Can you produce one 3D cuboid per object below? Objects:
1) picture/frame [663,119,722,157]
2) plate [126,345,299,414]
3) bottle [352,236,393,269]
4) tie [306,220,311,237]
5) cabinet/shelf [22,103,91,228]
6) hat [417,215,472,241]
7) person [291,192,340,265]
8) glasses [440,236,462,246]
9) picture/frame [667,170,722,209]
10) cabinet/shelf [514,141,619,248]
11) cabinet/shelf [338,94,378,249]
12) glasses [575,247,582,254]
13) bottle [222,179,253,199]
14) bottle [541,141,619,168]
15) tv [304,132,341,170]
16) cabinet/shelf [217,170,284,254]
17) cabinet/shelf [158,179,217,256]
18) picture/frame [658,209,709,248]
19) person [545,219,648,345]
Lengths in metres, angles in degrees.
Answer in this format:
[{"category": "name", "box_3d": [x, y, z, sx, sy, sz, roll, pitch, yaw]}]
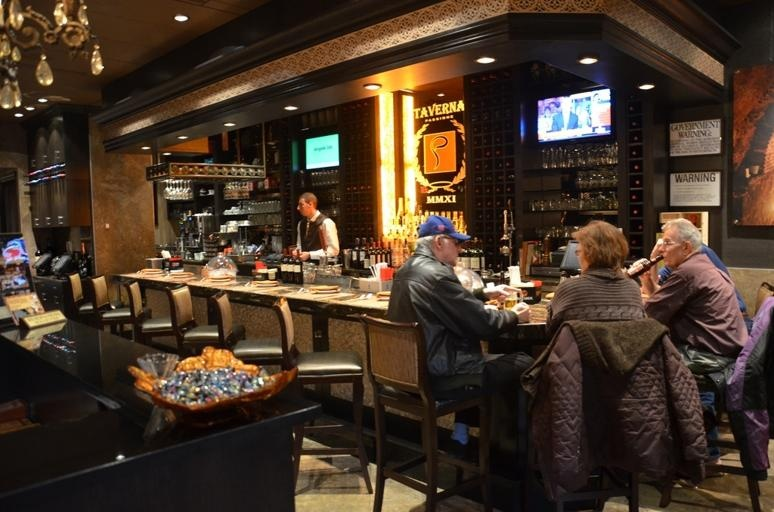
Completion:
[{"category": "picture/frame", "box_3d": [3.717, -1.432, 6.763, 0.529, 0.361, 0.085, 0, 0, 35]}, {"category": "plate", "box_3d": [-0.833, 0.605, 2.649, 0.485, 0.142, 0.392, -1, 2, -21]}, {"category": "bottle", "box_3d": [-0.190, -0.042, 8.194, 0.485, 0.432, 0.265, 4, 9, 24]}, {"category": "tie", "box_3d": [-1.108, -0.403, 8.058, 0.044, 0.174, 0.171, 12, 34, -14]}, {"category": "cabinet/shelf", "box_3d": [-6.455, -1.604, 11.025, 1.977, 2.049, 0.579, 1, 4, 42]}, {"category": "hat", "box_3d": [0.435, -0.211, 4.274, 0.328, 0.154, 0.198, -1, 3, -10]}, {"category": "person", "box_3d": [-0.956, -0.391, 7.655, 0.536, 0.918, 1.755, -2, 5, -8]}, {"category": "glasses", "box_3d": [0.474, -0.114, 4.202, 0.130, 0.055, 0.077, 8, 1, -29]}, {"category": "picture/frame", "box_3d": [3.787, -0.815, 6.850, 0.525, 0.427, 0.053, 1, 1, 34]}, {"category": "cabinet/shelf", "box_3d": [2.233, -0.747, 7.578, 1.270, 1.111, 0.461, -3, 3, -20]}, {"category": "cabinet/shelf", "box_3d": [-0.405, -1.185, 9.120, 0.654, 2.569, 0.370, 1, 8, 17]}, {"category": "glasses", "box_3d": [1.313, -0.036, 3.851, 0.024, 0.031, 0.030, 12, 27, -1]}, {"category": "bottle", "box_3d": [-2.835, -1.266, 10.677, 0.487, 0.443, 0.355, -1, -4, 29]}, {"category": "bottle", "box_3d": [2.498, -1.289, 7.263, 0.954, 0.295, 0.213, 2, 7, 35]}, {"category": "tv", "box_3d": [-1.063, -1.752, 9.443, 0.820, 0.538, 0.072, 1, 4, 38]}, {"category": "cabinet/shelf", "box_3d": [-2.543, -1.046, 11.653, 0.764, 2.177, 2.465, 0, -1, -11]}, {"category": "cabinet/shelf", "box_3d": [-3.990, -0.783, 11.809, 0.539, 1.421, 1.550, -14, 14, -26]}, {"category": "picture/frame", "box_3d": [3.553, -0.296, 6.889, 0.768, 0.638, 0.242, -6, 9, -18]}, {"category": "person", "box_3d": [1.352, 0.121, 3.917, 0.891, 1.033, 0.687, 0, 6, 10]}]
